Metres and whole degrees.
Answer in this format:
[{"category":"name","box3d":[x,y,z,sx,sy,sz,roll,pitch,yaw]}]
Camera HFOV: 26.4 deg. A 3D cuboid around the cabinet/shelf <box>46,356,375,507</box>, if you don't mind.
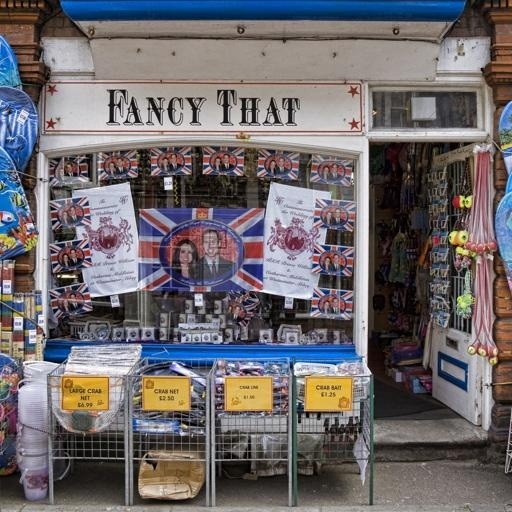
[{"category":"cabinet/shelf","box3d":[-0.422,1.594,10.420,3.095,1.127,0.935,-2,1,-4]}]
